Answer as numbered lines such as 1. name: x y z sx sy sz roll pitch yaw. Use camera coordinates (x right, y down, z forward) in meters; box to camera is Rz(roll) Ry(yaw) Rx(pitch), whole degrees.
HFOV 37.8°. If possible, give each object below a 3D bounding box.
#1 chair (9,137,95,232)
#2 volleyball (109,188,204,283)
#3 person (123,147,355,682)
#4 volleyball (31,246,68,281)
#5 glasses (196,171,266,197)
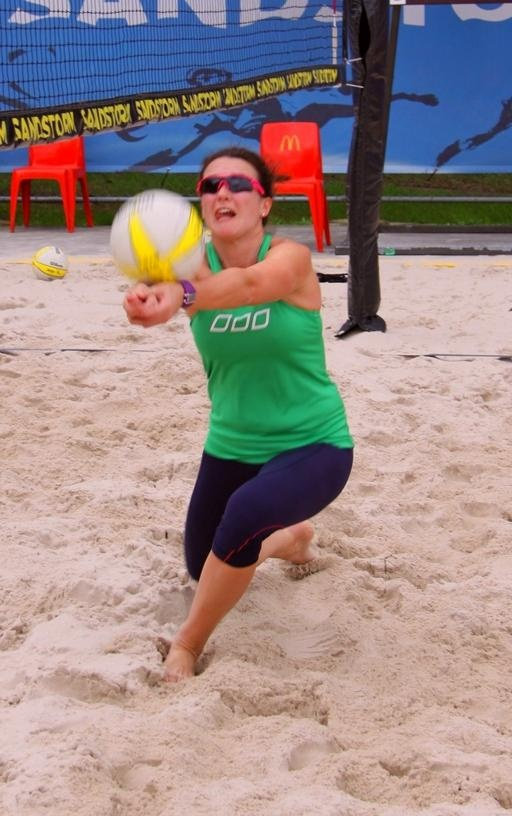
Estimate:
1. chair: -2.089 -2.246 7.699 0.795 0.913 1.514 -1 12 -12
2. volleyball: -0.164 -0.283 1.286 0.167 0.173 0.136 3 14 -2
3. person: 0.011 0.021 1.588 0.399 1.126 0.715 3 12 4
4. volleyball: -1.324 -0.934 4.832 0.210 0.212 0.219 0 -4 34
5. glasses: -0.044 -0.456 1.556 0.151 0.042 0.110 0 12 -9
